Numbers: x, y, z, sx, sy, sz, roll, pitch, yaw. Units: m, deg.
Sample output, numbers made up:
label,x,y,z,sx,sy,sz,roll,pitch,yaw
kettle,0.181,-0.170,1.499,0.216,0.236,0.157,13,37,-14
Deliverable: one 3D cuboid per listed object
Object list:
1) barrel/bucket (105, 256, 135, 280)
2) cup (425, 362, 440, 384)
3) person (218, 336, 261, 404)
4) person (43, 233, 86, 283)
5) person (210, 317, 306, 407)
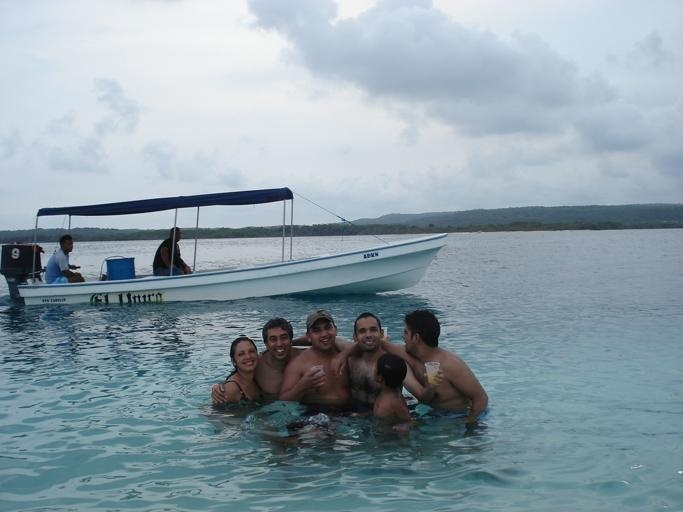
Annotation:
label,x,y,z,sx,sy,sz,roll,pitch,yaw
barrel/bucket,-7.729,0.408,18.922,0.924,0.776,1.066,-5,9,-21
cup,1.230,1.507,7.071,0.174,0.289,0.160,-2,10,0
person,-1.531,1.687,8.176,0.608,0.981,0.391,-3,11,-9
person,-9.715,0.083,18.721,1.714,1.676,0.916,5,12,36
person,-1.399,1.776,9.089,1.610,1.768,0.794,9,-11,-8
